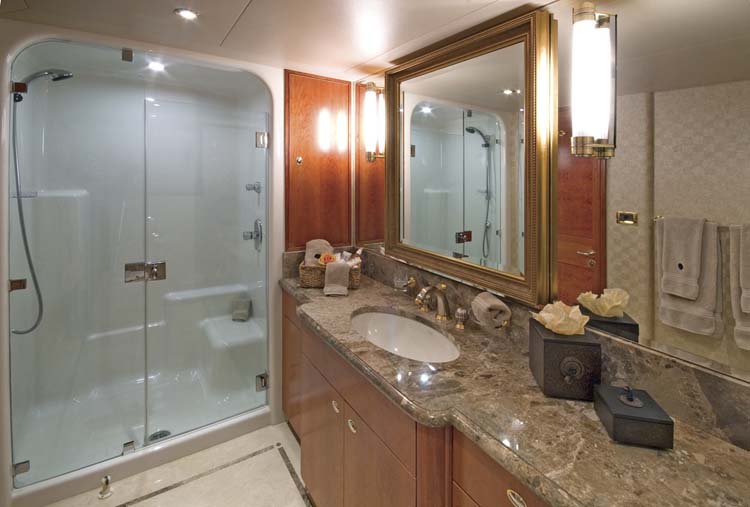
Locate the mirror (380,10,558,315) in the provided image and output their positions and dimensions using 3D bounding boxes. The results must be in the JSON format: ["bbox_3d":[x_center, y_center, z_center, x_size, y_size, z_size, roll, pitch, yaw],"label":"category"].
[{"bbox_3d":[0.508,-0.481,2.597,0.121,1.565,1.456,-1,1,-36],"label":"mirror"}]

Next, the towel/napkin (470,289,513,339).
[{"bbox_3d":[0.565,0.301,2.463,0.189,0.209,0.115,-2,10,4],"label":"towel/napkin"}]

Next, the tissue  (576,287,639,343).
[{"bbox_3d":[0.989,0.256,2.143,0.193,0.085,0.191,-14,20,-38],"label":"tissue "}]
